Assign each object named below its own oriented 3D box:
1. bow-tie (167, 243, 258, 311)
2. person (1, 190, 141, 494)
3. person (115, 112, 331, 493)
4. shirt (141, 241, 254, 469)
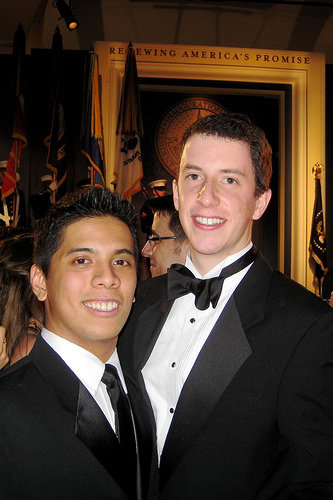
[{"bbox_3d":[0.229,0.108,1.868,0.470,0.166,0.338,-21,16,-36],"label":"bow-tie"},{"bbox_3d":[-0.324,0.273,1.485,0.476,0.972,0.525,6,1,-21],"label":"person"},{"bbox_3d":[0.201,0.150,1.626,0.823,1.393,0.727,6,1,5],"label":"person"},{"bbox_3d":[0.172,0.410,1.861,0.517,0.770,0.604,-5,16,-20],"label":"shirt"}]
